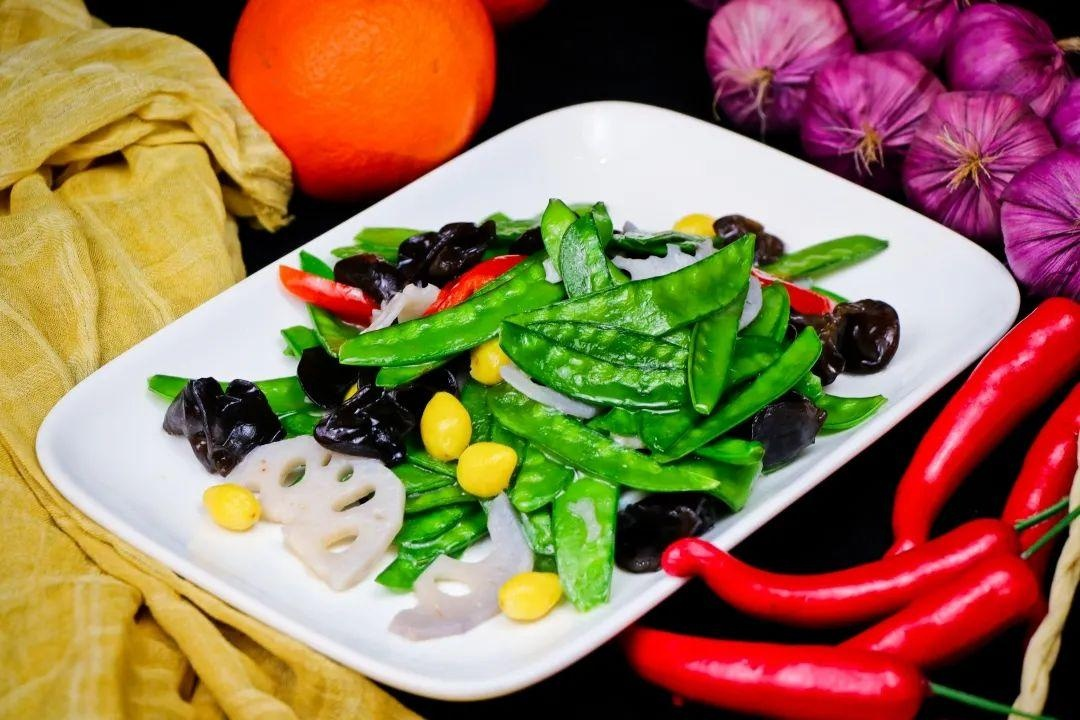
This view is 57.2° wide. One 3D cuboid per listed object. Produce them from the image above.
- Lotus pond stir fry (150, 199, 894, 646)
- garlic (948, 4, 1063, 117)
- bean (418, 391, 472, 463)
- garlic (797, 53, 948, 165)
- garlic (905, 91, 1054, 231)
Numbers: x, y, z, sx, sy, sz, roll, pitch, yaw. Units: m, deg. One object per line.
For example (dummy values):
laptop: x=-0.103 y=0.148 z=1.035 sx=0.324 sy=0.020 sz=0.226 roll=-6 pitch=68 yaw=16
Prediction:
Lotus pond stir fry: x=-0.071 y=0.045 z=1.703 sx=1.091 sy=0.222 sz=0.839 roll=-15 pitch=58 yaw=-8
garlic: x=0.960 y=-0.620 z=2.130 sx=0.199 sy=0.153 sz=0.250 roll=-10 pitch=62 yaw=-22
bean: x=-0.176 y=0.118 z=1.696 sx=0.096 sy=0.134 sz=0.107 roll=4 pitch=93 yaw=40
garlic: x=0.718 y=-0.528 z=2.126 sx=0.298 sy=0.232 sz=0.284 roll=-4 pitch=44 yaw=29
garlic: x=0.862 y=-0.402 z=1.989 sx=0.263 sy=0.288 sz=0.125 roll=2 pitch=14 yaw=25
